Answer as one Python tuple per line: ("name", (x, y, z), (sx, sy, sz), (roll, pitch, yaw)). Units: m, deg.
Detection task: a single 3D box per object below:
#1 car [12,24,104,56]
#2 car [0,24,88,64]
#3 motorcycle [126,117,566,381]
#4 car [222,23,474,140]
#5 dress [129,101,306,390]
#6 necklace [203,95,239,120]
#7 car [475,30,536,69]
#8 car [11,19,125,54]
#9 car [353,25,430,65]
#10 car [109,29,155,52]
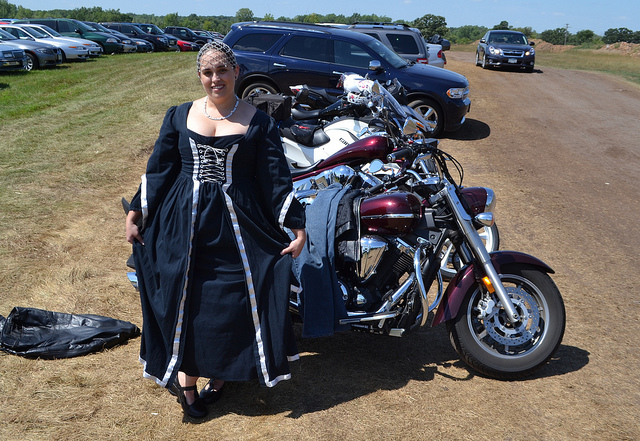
("car", (-10.487, -7.163, 20.759), (2.920, 0.849, 1.203), (7, 26, 3))
("car", (-9.954, -6.573, 19.090), (3.201, 0.943, 1.408), (7, 26, 7))
("motorcycle", (0.244, 0.198, 4.687), (3.882, 1.813, 1.783), (9, -4, 12))
("car", (-0.098, -2.465, 10.474), (5.822, 1.840, 2.376), (3, 33, 8))
("dress", (-0.783, 0.202, 3.928), (1.314, 1.956, 1.035), (3, 28, -2))
("necklace", (-0.741, -0.859, 3.871), (0.285, 0.170, 0.237), (4, 26, 1))
("car", (7.183, -6.747, 20.487), (1.510, 0.971, 2.422), (1, 15, 4))
("car", (-11.224, -8.170, 23.363), (4.145, 1.229, 1.650), (-1, 26, -6))
("car", (1.686, -4.256, 13.045), (2.050, 1.001, 1.078), (9, 36, 6))
("car", (-9.456, -9.420, 27.538), (2.866, 0.859, 1.154), (3, 36, 4))
